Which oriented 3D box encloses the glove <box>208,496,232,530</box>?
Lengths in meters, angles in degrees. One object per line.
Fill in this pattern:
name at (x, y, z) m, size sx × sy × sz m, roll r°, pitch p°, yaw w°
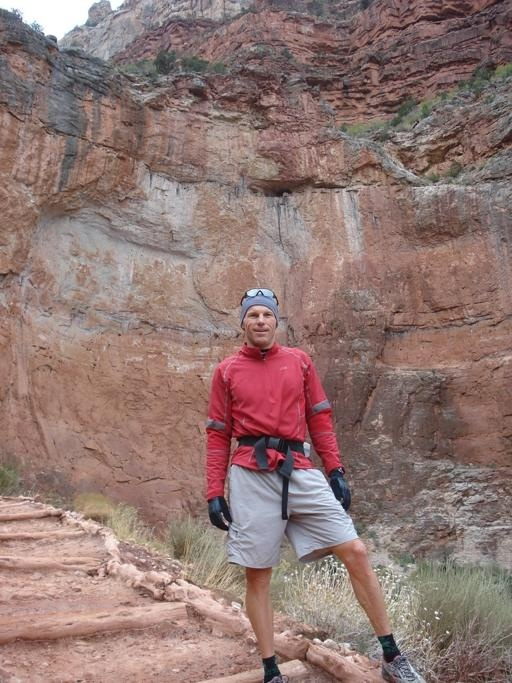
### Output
glove at (-0.228, 1.044, 4.040) m, size 0.160 × 0.198 × 0.071 m, roll 0°, pitch -44°, yaw -12°
